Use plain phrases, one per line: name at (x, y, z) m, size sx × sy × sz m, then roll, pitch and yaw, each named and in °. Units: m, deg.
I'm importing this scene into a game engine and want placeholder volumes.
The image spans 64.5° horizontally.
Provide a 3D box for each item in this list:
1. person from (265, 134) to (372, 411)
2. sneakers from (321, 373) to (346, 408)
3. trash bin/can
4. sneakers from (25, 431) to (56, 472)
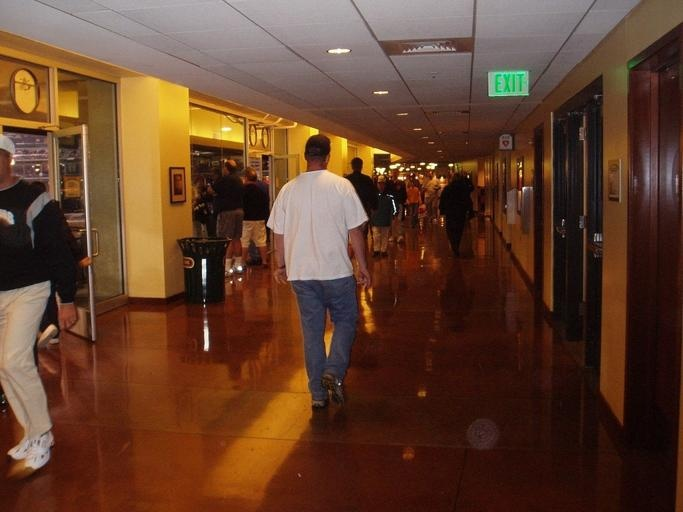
person at (-0.187, 0.123, 4.337) m, size 0.800 × 2.150 × 0.375 m, roll -2°, pitch 5°, yaw 2°
sneakers at (-0.056, 1.052, 4.310) m, size 0.128 × 0.297 × 0.140 m, roll -15°, pitch 22°, yaw 29°
trash bin/can at (-2.128, 0.183, 8.384) m, size 0.950 × 1.103 × 0.874 m, roll 0°, pitch 2°, yaw -2°
sneakers at (-1.943, 1.244, 3.503) m, size 0.106 × 0.119 × 0.282 m, roll 4°, pitch 38°, yaw -10°
